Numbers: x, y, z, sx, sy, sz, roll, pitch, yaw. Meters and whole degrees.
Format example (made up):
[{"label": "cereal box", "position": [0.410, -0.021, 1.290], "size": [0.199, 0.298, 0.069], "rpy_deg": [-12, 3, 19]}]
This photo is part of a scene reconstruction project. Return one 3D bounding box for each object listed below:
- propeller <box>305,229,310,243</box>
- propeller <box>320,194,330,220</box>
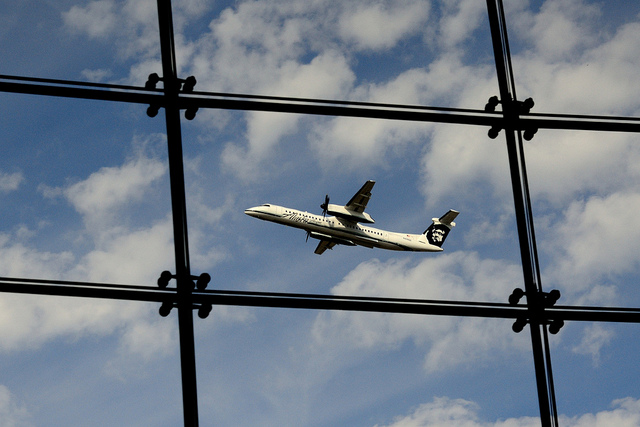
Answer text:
[{"label": "propeller", "position": [-0.222, 0.427, 24.926], "size": [0.006, 0.212, 0.211], "rpy_deg": [15, -16, -43]}, {"label": "propeller", "position": [0.103, -0.154, 31.006], "size": [0.220, 0.157, 0.640], "rpy_deg": [2, -75, -4]}]
